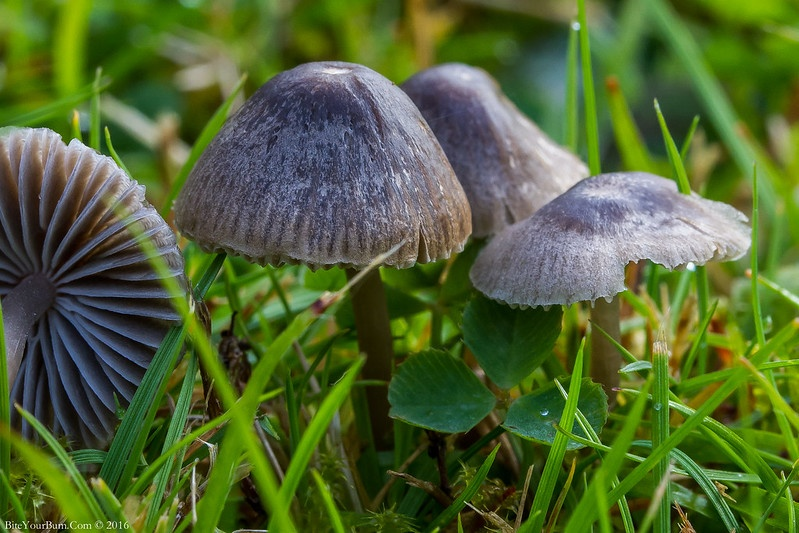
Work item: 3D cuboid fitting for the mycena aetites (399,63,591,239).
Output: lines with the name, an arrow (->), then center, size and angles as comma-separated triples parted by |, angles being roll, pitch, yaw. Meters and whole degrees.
mycena aetites -> 0.234, -0.289, 2.112 | 0.468, 0.229, 0.470 | 7, 35, 32

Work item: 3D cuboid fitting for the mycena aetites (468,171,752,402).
mycena aetites -> 0.488, -0.059, 1.826 | 0.636, 0.305, 0.247 | -4, 9, -16
